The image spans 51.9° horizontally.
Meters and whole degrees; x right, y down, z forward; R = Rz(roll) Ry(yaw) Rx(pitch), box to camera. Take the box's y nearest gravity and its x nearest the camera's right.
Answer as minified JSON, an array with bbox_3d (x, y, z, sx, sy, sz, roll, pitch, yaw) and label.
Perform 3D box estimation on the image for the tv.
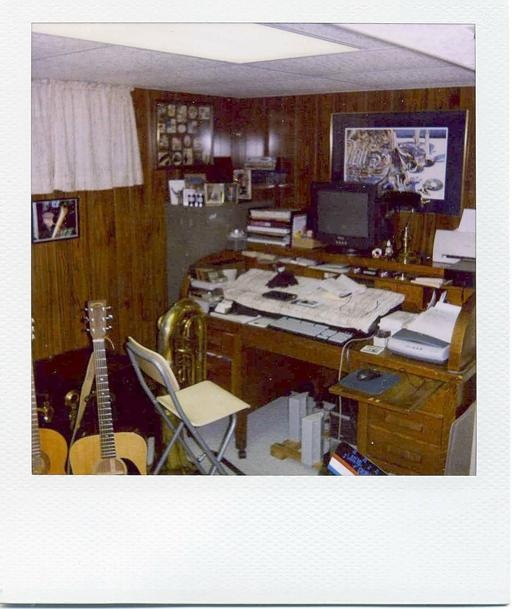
[{"bbox_3d":[0.555,-0.553,3.295,0.078,0.419,0.600,-10,15,-40],"label":"tv"}]

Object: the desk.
[{"bbox_3d":[0.378,0.300,2.778,1.286,0.799,0.489,11,17,41],"label":"desk"}]

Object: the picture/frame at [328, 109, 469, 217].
[{"bbox_3d":[0.913,-0.847,3.273,1.111,0.634,0.040,15,23,37],"label":"picture/frame"}]

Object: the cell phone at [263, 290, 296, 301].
[{"bbox_3d":[0.132,-0.049,3.135,0.132,0.024,0.083,12,29,29],"label":"cell phone"}]

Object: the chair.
[{"bbox_3d":[-0.340,0.533,2.337,0.543,0.827,0.427,-3,6,-32],"label":"chair"}]

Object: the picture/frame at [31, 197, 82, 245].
[{"bbox_3d":[-1.182,-0.498,3.102,0.034,0.266,0.262,15,19,33],"label":"picture/frame"}]

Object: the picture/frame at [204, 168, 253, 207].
[{"bbox_3d":[-0.200,-0.818,3.674,0.169,0.249,0.377,4,13,32],"label":"picture/frame"}]
